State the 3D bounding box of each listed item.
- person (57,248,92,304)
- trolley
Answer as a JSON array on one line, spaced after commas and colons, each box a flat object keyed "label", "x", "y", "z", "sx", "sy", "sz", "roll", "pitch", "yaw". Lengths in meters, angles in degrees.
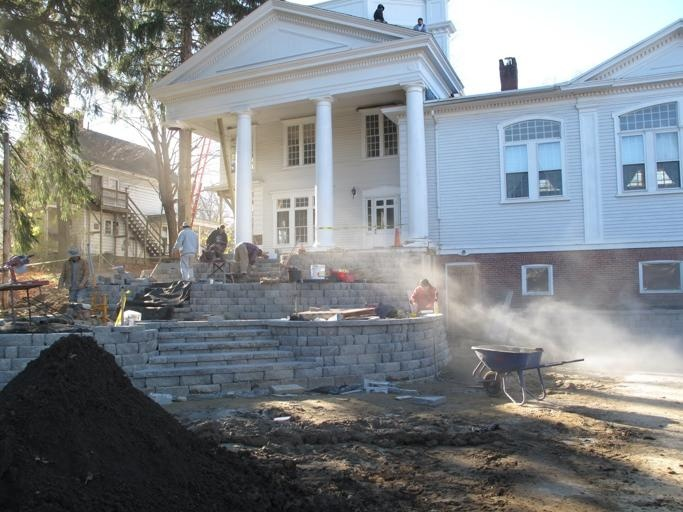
[{"label": "person", "x": -6.972, "y": 0.514, "z": 15.915, "sx": 0.747, "sy": 1.471, "sz": 0.580, "roll": 2, "pitch": 2, "yaw": -6}, {"label": "trolley", "x": 3.874, "y": 2.450, "z": 13.177, "sx": 2.310, "sy": 1.303, "sz": 2.025, "roll": 11, "pitch": 1, "yaw": -2}]
